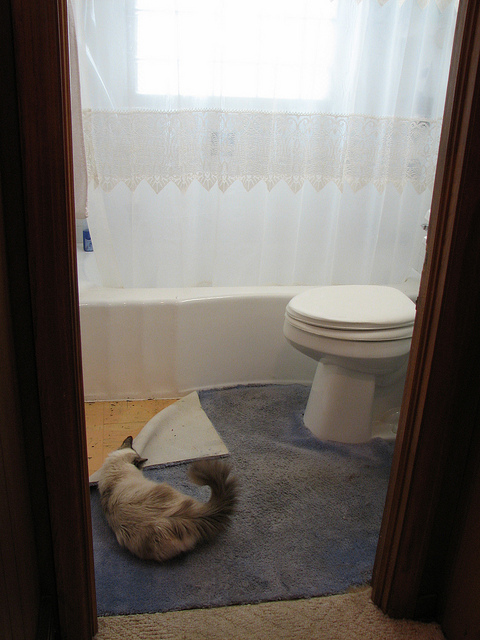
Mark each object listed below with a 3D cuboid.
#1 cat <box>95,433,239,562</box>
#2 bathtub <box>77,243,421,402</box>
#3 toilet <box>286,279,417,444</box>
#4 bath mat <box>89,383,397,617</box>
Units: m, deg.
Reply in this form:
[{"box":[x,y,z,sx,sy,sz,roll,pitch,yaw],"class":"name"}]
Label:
[{"box":[-0.198,0.431,1.086,0.322,0.239,0.190,13,23,37],"class":"cat"},{"box":[-0.165,0.071,1.743,1.282,0.621,0.741,-3,24,-13],"class":"bathtub"},{"box":[0.310,0.114,1.553,0.354,0.545,0.480,0,28,-1],"class":"toilet"},{"box":[0.058,0.349,1.222,0.457,0.422,0.826,-3,24,-7],"class":"bath mat"}]
